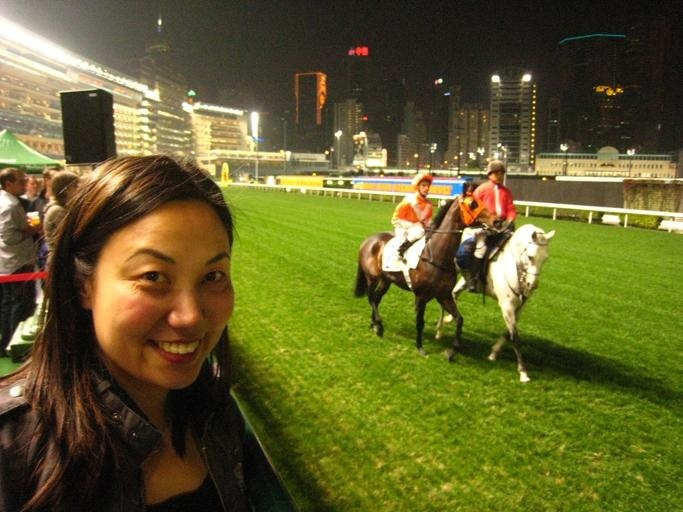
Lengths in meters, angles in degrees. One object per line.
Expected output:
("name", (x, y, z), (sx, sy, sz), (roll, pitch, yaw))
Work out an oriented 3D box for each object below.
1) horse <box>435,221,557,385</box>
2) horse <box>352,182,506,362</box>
("horse", (1.859, 0.438, 6.092), (0.564, 1.636, 2.367), (4, 2, -8))
("horse", (0.842, 0.209, 6.132), (0.545, 1.999, 2.454), (2, 4, -34))
